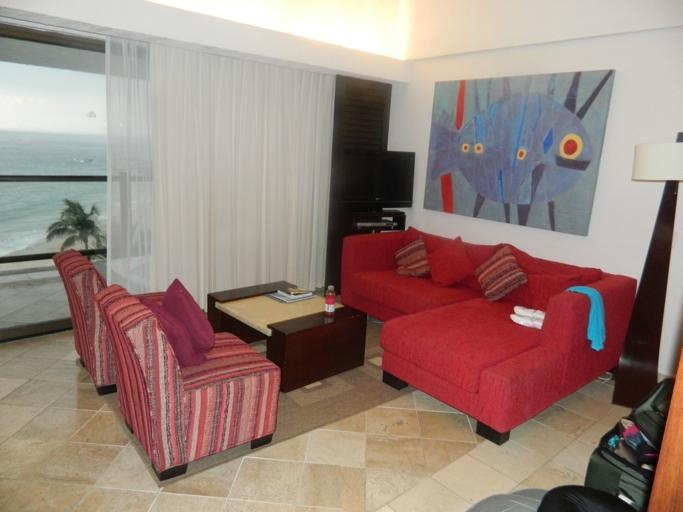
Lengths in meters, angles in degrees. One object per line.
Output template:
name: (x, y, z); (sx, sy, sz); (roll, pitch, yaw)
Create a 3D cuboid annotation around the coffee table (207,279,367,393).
coffee table: (-0.536, 0.684, 4.482); (0.899, 0.551, 1.271); (-8, 17, -40)

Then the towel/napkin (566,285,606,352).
towel/napkin: (1.958, 0.503, 3.876); (0.350, 0.477, 0.113); (5, -5, -13)

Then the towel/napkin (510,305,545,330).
towel/napkin: (1.614, 0.531, 4.169); (0.155, 0.081, 0.262); (-25, 32, -36)

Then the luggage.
luggage: (1.648, 1.025, 2.707); (0.461, 0.624, 0.320); (-13, 19, -41)

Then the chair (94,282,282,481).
chair: (-0.962, 0.756, 3.481); (1.214, 1.232, 1.169); (-9, 19, -36)

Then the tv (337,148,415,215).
tv: (0.426, -0.923, 6.112); (1.101, 0.779, 0.244); (-1, 7, -20)
